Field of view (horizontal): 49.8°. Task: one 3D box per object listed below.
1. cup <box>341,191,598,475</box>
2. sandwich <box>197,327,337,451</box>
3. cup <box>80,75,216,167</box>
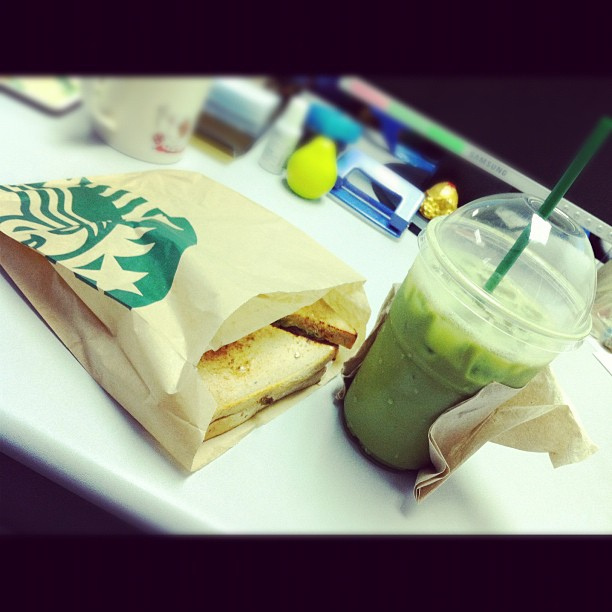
[{"bbox_3d":[0.167,0.022,0.695,0.216,0.314,0.189,-30,63,-35],"label":"cup"},{"bbox_3d":[-0.053,0.084,0.770,0.168,0.041,0.088,-15,46,-44],"label":"sandwich"},{"bbox_3d":[-0.209,-0.279,1.009,0.187,0.125,0.143,10,9,7],"label":"cup"}]
